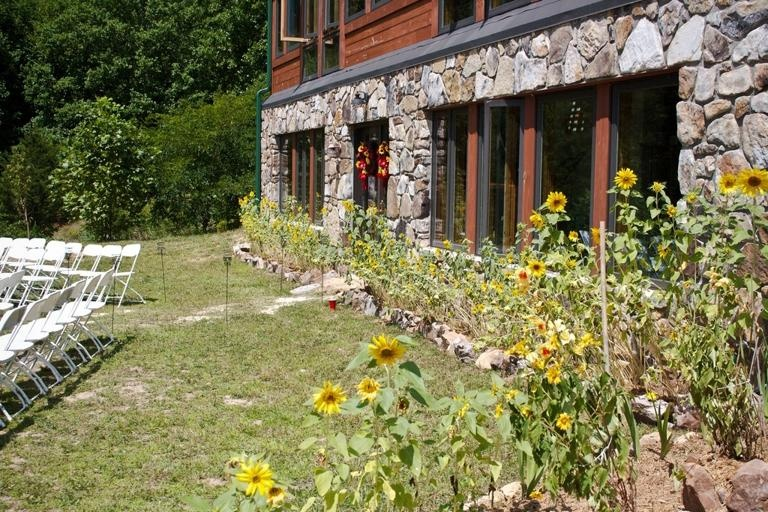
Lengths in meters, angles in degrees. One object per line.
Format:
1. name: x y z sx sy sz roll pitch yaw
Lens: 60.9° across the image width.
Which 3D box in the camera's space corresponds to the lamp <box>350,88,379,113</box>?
1. lamp: -0.285 -2.517 10.436 0.176 0.521 0.460 2 1 -32
